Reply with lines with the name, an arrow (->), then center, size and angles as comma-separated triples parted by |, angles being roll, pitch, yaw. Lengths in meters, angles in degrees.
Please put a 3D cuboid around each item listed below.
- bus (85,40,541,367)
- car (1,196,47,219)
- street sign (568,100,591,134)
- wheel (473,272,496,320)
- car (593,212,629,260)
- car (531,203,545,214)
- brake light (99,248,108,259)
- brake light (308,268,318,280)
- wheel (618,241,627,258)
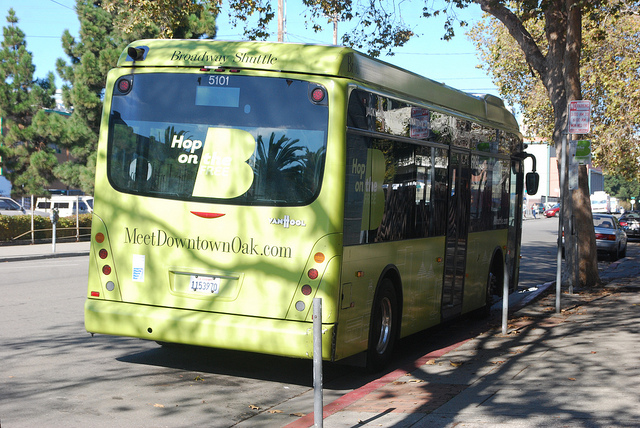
bus -> -0.178, 0.018, 9.355 | 2.321, 2.610, 6.321 | 0, -1, 33
car -> -17.969, -0.440, 36.162 | 2.782, 1.574, 1.737 | -2, 2, -16
street sign -> 5.853, -2.230, 13.479 | 0.446, 0.778, 0.377 | -1, -2, 24
wheel -> 3.648, 1.799, 13.297 | 0.273, 0.948, 0.896 | 5, 17, 10
car -> 13.501, 1.139, 27.682 | 1.324, 1.115, 3.120 | 2, 6, 29
car -> 32.874, -0.856, 89.870 | 1.320, 1.529, 5.376 | 4, 8, 30
brake light -> -3.270, 0.599, 8.964 | 0.117, 0.133, 0.030 | -6, 0, 13
brake light -> -0.092, 0.827, 8.252 | 0.137, 0.155, 0.021 | -3, 0, 5
wheel -> 14.377, 1.679, 28.371 | 0.223, 0.783, 0.743 | -2, -5, 22
